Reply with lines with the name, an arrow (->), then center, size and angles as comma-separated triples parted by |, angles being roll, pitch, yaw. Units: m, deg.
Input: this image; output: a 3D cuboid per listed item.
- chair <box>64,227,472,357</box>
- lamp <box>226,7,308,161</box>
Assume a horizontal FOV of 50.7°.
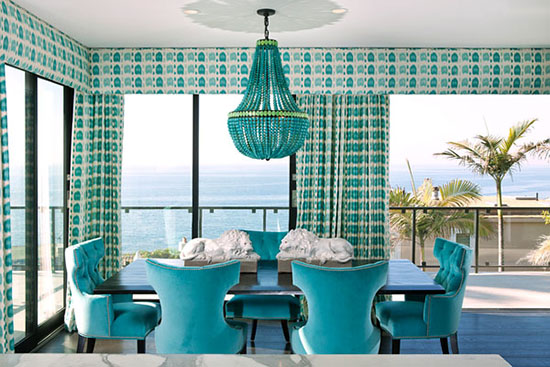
chair -> 0.017, 1.144, 6.148 | 3.950, 1.281, 2.187 | 0, 0, 14
lamp -> -0.091, -1.051, 6.014 | 0.868, 1.553, 0.856 | -4, 7, -43
